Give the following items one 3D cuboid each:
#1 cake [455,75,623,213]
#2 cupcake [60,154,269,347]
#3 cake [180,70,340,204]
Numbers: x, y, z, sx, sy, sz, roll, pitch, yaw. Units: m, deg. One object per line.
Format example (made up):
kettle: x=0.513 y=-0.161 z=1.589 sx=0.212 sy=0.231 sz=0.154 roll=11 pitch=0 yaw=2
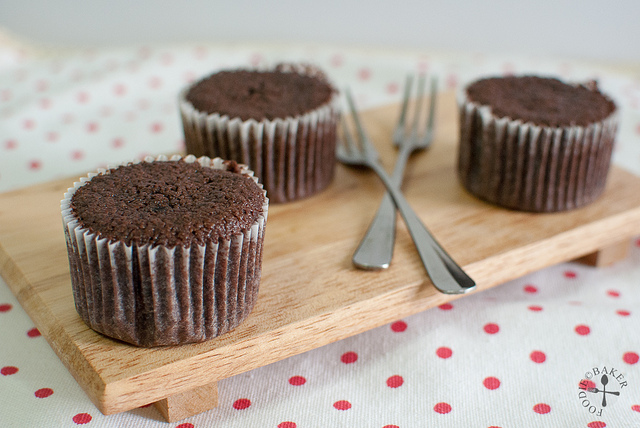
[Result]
cake: x=0.490 y=-0.113 z=1.413 sx=0.328 sy=0.181 sz=0.301 roll=-7 pitch=15 yaw=1
cupcake: x=-0.267 y=0.048 z=1.121 sx=0.355 sy=0.215 sz=0.325 roll=-7 pitch=38 yaw=-5
cake: x=-0.136 y=-0.163 z=1.473 sx=0.315 sy=0.179 sz=0.304 roll=5 pitch=17 yaw=6
